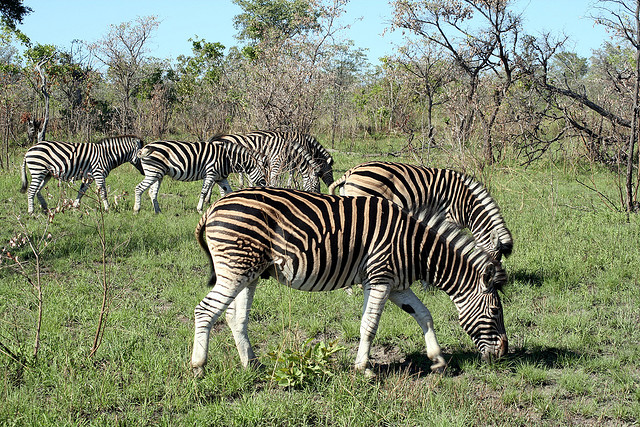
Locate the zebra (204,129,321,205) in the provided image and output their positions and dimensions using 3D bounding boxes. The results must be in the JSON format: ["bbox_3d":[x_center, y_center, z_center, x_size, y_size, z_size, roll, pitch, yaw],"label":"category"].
[{"bbox_3d":[-1.607,-1.167,19.029,3.554,2.128,0.938,3,-4,-1],"label":"zebra"}]

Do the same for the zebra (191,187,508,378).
[{"bbox_3d":[0.585,1.330,12.440,5.621,3.539,1.652,2,8,-6],"label":"zebra"}]
